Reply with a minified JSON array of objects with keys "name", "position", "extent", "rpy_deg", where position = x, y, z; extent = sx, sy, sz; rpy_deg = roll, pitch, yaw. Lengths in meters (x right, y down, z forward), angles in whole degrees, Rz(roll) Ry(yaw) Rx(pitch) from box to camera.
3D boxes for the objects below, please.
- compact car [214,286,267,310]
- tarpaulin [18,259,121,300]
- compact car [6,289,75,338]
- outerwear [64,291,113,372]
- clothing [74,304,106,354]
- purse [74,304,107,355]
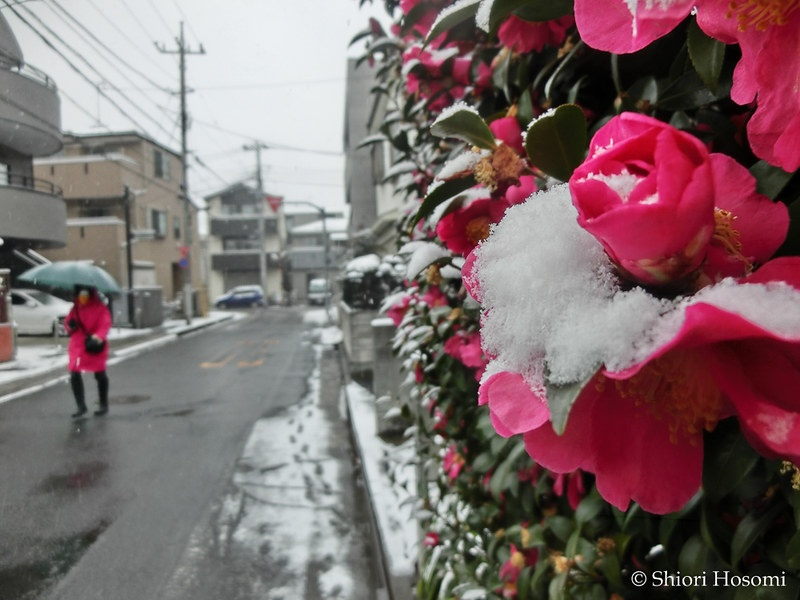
[{"name":"compact car","position":[-6.886,-0.023,36.015],"extent":[1.611,0.909,1.125],"rpy_deg":[1,3,-13]},{"name":"tarpaulin","position":[-3.607,-0.225,8.866],"extent":[0.811,0.351,0.845],"rpy_deg":[-3,-5,35]},{"name":"compact car","position":[-5.798,0.255,13.353],"extent":[1.548,0.657,0.739],"rpy_deg":[-1,4,-8]},{"name":"outerwear","position":[-3.307,0.413,8.761],"extent":[0.405,1.185,0.434],"rpy_deg":[3,14,-6]},{"name":"clothing","position":[-3.214,0.294,8.745],"extent":[0.262,0.512,0.200],"rpy_deg":[-20,-6,10]},{"name":"purse","position":[-3.290,0.198,8.852],"extent":[0.349,0.301,0.630],"rpy_deg":[8,27,-30]}]
